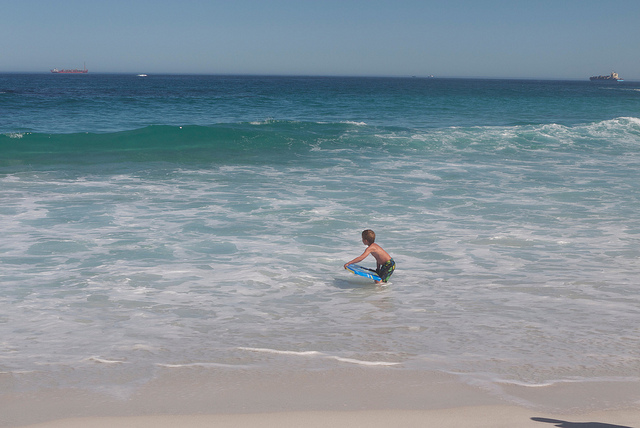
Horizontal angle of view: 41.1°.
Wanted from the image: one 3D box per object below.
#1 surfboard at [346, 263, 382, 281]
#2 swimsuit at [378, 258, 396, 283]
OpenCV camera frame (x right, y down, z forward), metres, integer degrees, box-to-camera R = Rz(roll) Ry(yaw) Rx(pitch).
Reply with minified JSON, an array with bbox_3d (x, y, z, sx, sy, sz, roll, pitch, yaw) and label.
[{"bbox_3d":[0.945,1.211,18.220,0.773,0.353,0.500,2,11,2],"label":"surfboard"},{"bbox_3d":[1.424,1.188,18.119,0.200,0.507,0.398,18,20,42],"label":"swimsuit"}]
